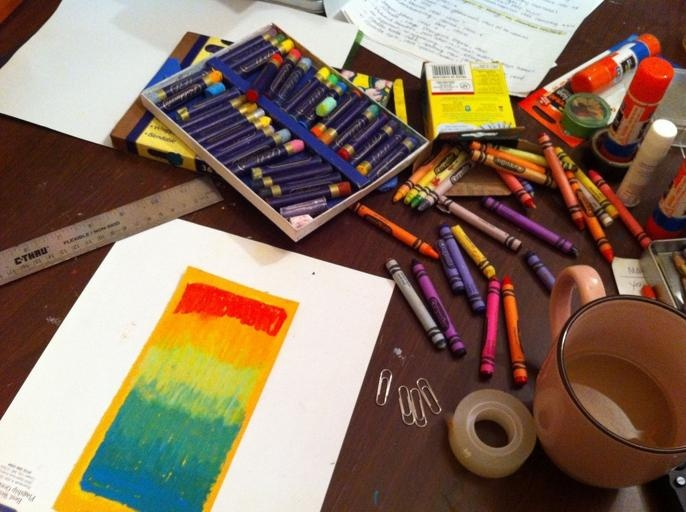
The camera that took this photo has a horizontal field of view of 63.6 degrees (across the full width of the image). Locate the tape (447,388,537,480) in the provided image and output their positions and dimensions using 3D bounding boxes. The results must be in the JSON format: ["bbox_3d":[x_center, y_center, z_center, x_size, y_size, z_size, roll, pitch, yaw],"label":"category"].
[{"bbox_3d":[0.234,0.281,0.877,0.135,0.054,0.125,-33,61,-7],"label":"tape"}]
